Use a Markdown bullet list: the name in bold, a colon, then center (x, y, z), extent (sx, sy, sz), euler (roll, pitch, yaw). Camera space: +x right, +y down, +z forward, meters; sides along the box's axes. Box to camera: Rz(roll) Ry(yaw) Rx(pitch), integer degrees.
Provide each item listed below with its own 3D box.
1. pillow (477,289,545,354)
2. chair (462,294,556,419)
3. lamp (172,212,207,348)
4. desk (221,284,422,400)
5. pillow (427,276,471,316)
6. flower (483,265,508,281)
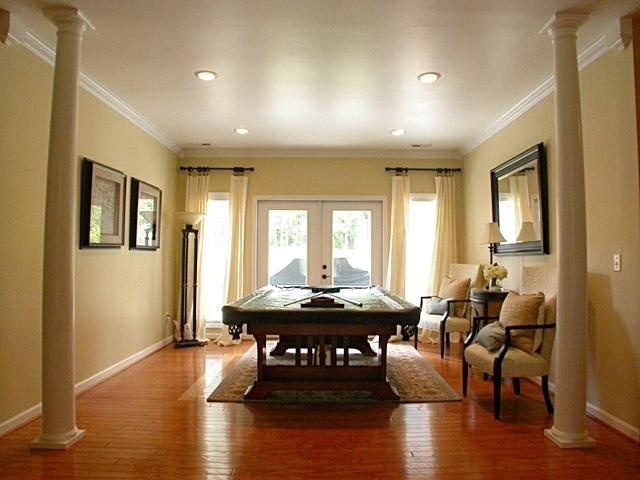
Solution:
- **pillow**: center (1.885, 0.796, 4.584), extent (0.183, 0.583, 0.528), euler (22, -10, -18)
- **chair**: center (1.861, 1.077, 4.708), extent (0.728, 1.108, 0.809), euler (-1, 3, -13)
- **lamp**: center (-2.020, 0.585, 7.201), extent (0.450, 2.003, 0.789), euler (-1, 4, -17)
- **desk**: center (0.025, 0.980, 4.598), extent (1.207, 0.607, 1.701), euler (1, -7, 3)
- **pillow**: center (1.844, 0.793, 6.551), extent (0.582, 0.522, 0.616), euler (-1, 4, -19)
- **flower**: center (2.165, 0.395, 5.785), extent (0.221, 0.210, 0.212), euler (-3, 3, -25)
